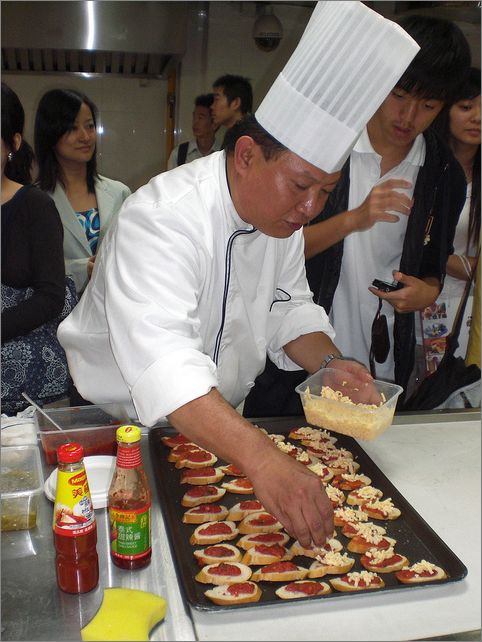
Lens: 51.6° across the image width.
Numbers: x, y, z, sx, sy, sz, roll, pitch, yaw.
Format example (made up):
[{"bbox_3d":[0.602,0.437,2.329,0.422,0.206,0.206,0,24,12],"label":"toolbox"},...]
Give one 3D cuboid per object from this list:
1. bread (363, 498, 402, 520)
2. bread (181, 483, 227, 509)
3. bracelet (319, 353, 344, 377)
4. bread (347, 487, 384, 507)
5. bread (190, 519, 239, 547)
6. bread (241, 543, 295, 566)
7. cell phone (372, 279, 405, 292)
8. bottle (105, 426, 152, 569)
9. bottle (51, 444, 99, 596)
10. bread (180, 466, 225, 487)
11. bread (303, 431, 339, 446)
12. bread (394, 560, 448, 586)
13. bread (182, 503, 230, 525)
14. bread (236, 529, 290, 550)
[{"bbox_3d":[0.278,0.371,0.991,0.047,0.017,0.037,2,21,23],"label":"bread"},{"bbox_3d":[-0.076,0.355,1.019,0.058,0.016,0.033,-5,16,-35],"label":"bread"},{"bbox_3d":[0.246,0.104,1.351,0.060,0.062,0.038,-15,46,-18],"label":"bracelet"},{"bbox_3d":[0.260,0.368,1.042,0.037,0.018,0.052,-5,2,7],"label":"bread"},{"bbox_3d":[-0.045,0.381,0.911,0.061,0.017,0.035,-6,17,-32],"label":"bread"},{"bbox_3d":[0.043,0.397,0.859,0.051,0.020,0.037,-10,-4,27],"label":"bread"},{"bbox_3d":[0.541,-0.127,1.806,0.087,0.035,0.067,12,17,2],"label":"cell phone"},{"bbox_3d":[-0.161,0.254,0.722,0.055,0.205,0.056,2,14,0],"label":"bottle"},{"bbox_3d":[-0.219,0.266,0.663,0.058,0.226,0.083,2,7,-16],"label":"bottle"},{"bbox_3d":[-0.087,0.338,1.076,0.067,0.018,0.038,-1,6,-37],"label":"bread"},{"bbox_3d":[0.204,0.305,1.287,0.051,0.018,0.059,2,4,6],"label":"bread"},{"bbox_3d":[0.293,0.399,0.799,0.048,0.017,0.035,-9,8,1],"label":"bread"},{"bbox_3d":[-0.069,0.362,0.955,0.060,0.021,0.035,-1,7,-31],"label":"bread"},{"bbox_3d":[0.043,0.397,0.900,0.063,0.026,0.035,2,-2,-22],"label":"bread"}]
